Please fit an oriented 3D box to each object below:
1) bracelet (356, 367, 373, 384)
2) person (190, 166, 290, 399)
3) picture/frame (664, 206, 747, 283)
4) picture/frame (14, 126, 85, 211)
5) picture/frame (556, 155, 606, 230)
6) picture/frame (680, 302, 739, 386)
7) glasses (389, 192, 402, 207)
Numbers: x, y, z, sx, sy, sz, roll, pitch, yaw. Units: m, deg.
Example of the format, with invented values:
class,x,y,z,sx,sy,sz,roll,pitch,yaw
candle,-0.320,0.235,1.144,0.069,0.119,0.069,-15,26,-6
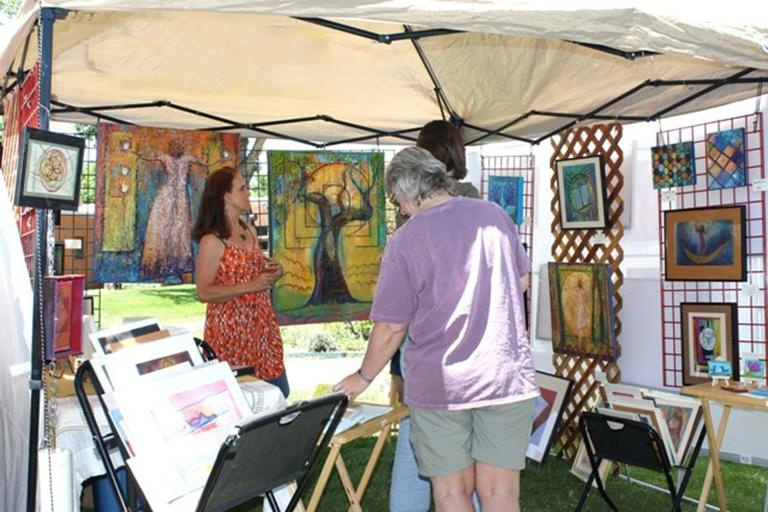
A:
class,x,y,z,sx,sy,sz,roll,pitch,yaw
bracelet,-0.115,0.684,3.603,0.082,0.032,0.086,44,-4,-18
person,-1.066,0.211,4.734,0.604,1.376,0.704,-1,1,42
picture/frame,2.848,-0.101,5.548,0.070,0.605,0.642,1,-1,-43
picture/frame,-1.747,-0.454,3.327,0.090,0.400,0.403,7,4,29
picture/frame,1.896,-0.605,6.028,0.087,0.872,0.580,-1,-7,-40
picture/frame,2.831,0.767,5.464,0.071,0.998,0.667,4,-5,-32
glasses,0.058,-0.324,3.625,0.069,0.025,0.075,5,-14,-16
